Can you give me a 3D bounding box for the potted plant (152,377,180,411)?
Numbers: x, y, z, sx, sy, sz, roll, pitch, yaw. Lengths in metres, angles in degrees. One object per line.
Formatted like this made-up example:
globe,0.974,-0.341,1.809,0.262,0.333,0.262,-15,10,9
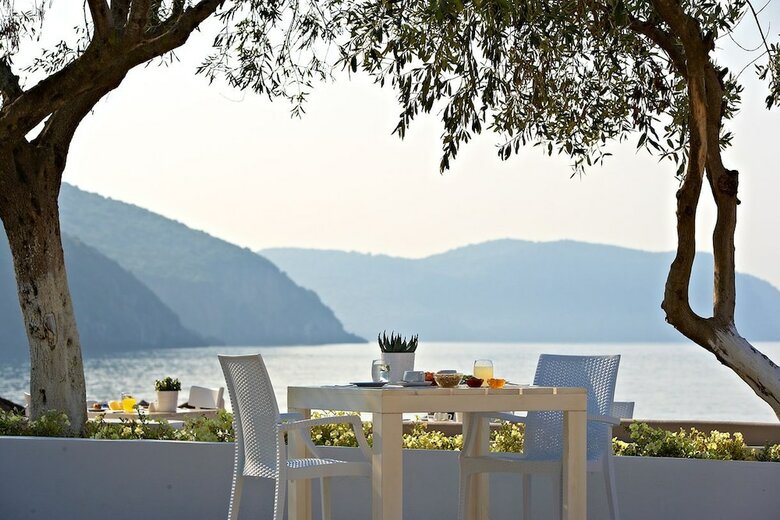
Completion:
potted plant,-7.607,4.699,59.174,0.875,1.280,1.110,1,-4,-13
